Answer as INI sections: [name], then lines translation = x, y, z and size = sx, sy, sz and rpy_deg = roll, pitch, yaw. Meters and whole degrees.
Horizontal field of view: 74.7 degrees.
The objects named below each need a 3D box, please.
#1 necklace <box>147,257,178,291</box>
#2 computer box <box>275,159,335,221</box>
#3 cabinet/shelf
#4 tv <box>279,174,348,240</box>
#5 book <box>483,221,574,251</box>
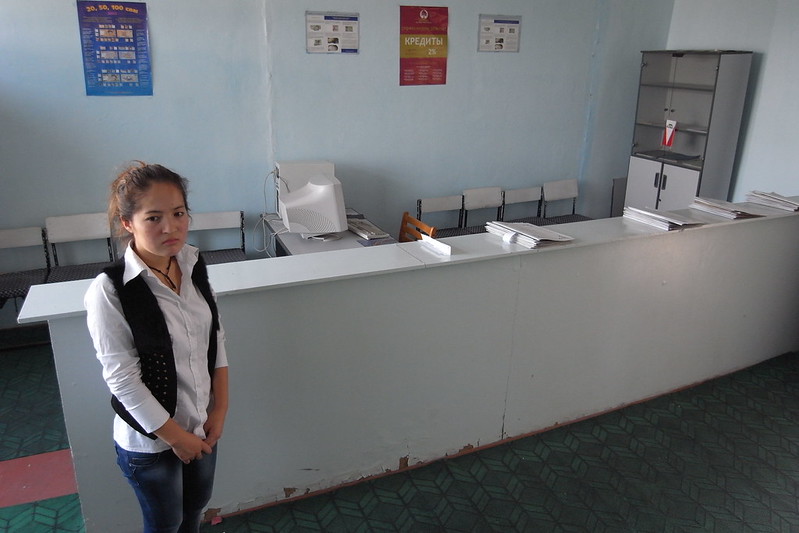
[necklace]
translation = -1.069, 0.028, 2.377
size = 0.023, 0.151, 0.092
rpy_deg = -8, 27, 51
[computer box]
translation = -0.960, -0.778, 5.264
size = 0.535, 0.502, 0.485
rpy_deg = -5, 15, -17
[cabinet/shelf]
translation = 3.336, -1.415, 6.242
size = 0.587, 2.132, 0.974
rpy_deg = -14, 25, -24
[tv]
translation = -0.785, -0.541, 4.766
size = 0.542, 0.410, 0.565
rpy_deg = -6, 20, -14
[book]
translation = 0.875, -0.232, 3.508
size = 0.460, 0.110, 0.383
rpy_deg = -9, 19, -22
